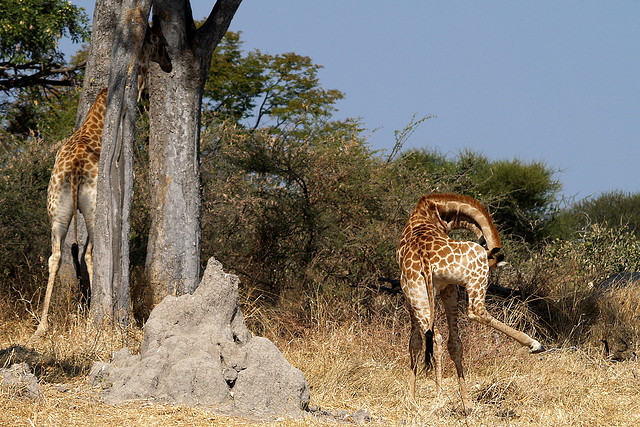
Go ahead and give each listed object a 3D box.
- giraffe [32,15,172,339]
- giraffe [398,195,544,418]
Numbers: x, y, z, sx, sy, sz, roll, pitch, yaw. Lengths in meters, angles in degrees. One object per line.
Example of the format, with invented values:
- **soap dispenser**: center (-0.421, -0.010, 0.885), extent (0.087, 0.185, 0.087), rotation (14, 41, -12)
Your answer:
- **giraffe**: center (-5.969, -0.866, 27.747), extent (1.884, 8.221, 3.639), rotation (11, -13, -42)
- **giraffe**: center (3.020, 2.099, 25.712), extent (2.472, 5.234, 1.160), rotation (1, -10, 5)
